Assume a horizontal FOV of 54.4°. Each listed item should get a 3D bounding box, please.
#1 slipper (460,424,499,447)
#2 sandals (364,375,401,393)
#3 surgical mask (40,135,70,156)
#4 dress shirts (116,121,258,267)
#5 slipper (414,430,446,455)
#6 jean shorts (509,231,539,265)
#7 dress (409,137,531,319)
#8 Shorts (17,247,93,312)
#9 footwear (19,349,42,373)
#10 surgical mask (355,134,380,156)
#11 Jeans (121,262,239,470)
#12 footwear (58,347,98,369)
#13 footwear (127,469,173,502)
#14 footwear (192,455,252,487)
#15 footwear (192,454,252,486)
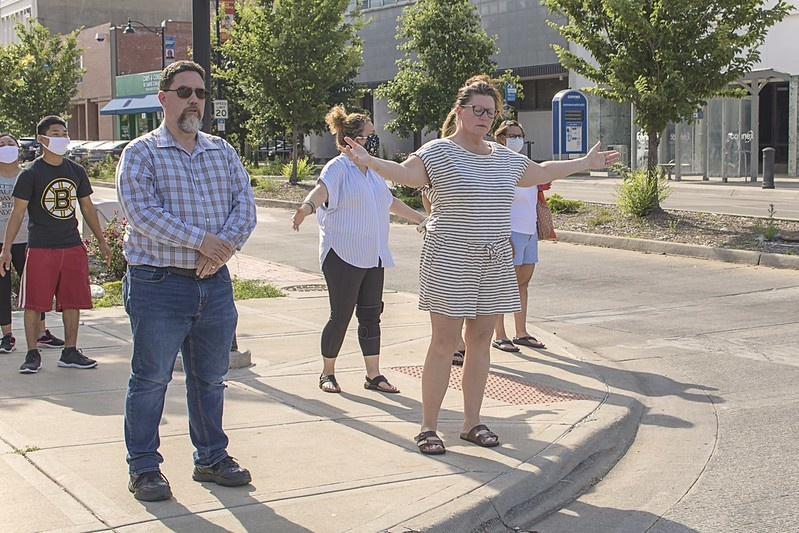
[{"bbox_3d":[0.634,1.341,6.123,0.127,0.106,0.259,-5,1,-34],"label":"slipper"},{"bbox_3d":[-0.192,1.130,7.458,0.369,0.161,0.138,0,1,17],"label":"sandals"},{"bbox_3d":[-3.531,-1.257,8.016,0.205,0.150,0.231,-8,12,-38],"label":"surgical mask"},{"bbox_3d":[-1.469,-0.502,5.440,0.999,0.975,0.610,-2,10,-42],"label":"dress shirts"},{"bbox_3d":[0.227,1.355,5.952,0.250,0.141,0.180,2,9,9],"label":"slipper"},{"bbox_3d":[1.333,-0.202,8.466,0.358,0.366,0.208,-6,6,-40],"label":"jean shorts"},{"bbox_3d":[0.581,-0.321,6.189,1.002,1.356,0.567,-1,5,-15],"label":"dress"},{"bbox_3d":[-3.637,0.091,8.211,0.715,0.714,0.399,-1,2,-39],"label":"Shorts"},{"bbox_3d":[-3.698,0.955,7.761,0.193,0.200,0.252,-4,10,-26],"label":"footwear"},{"bbox_3d":[-0.325,-1.216,7.733,0.262,0.234,0.235,1,9,3],"label":"surgical mask"},{"bbox_3d":[-1.501,0.721,5.341,0.772,1.470,0.439,-3,10,-21],"label":"Jeans"},{"bbox_3d":[-3.283,0.940,7.972,0.461,0.219,0.167,2,4,5],"label":"footwear"},{"bbox_3d":[-1.629,1.455,5.111,0.132,0.142,0.326,5,-8,-38],"label":"footwear"},{"bbox_3d":[-1.219,1.436,5.465,0.429,0.213,0.168,0,1,17],"label":"footwear"},{"bbox_3d":[-1.219,1.444,5.459,0.425,0.210,0.169,0,1,17],"label":"footwear"}]
